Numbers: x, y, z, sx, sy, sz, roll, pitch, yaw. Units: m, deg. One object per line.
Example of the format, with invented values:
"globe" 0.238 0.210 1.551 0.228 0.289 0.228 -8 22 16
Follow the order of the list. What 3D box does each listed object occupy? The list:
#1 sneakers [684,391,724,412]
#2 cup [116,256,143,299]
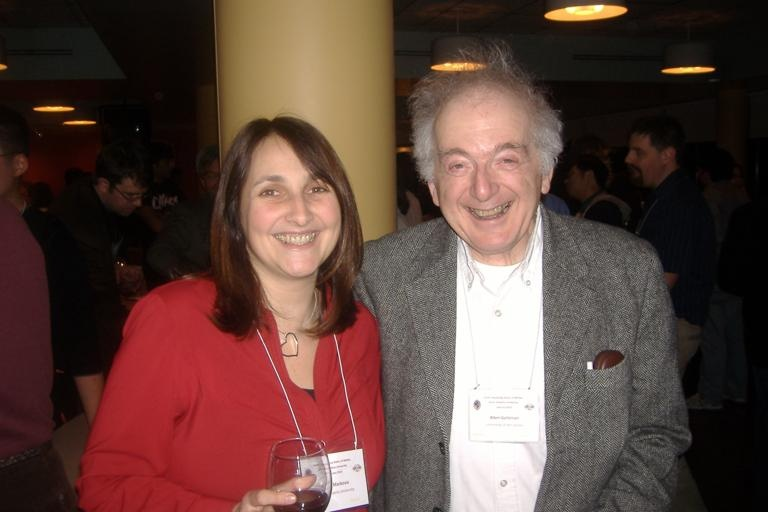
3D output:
"sneakers" 3.450 1.596 6.128 0.438 0.209 0.182 8 -11 11
"cup" -1.959 0.182 4.298 0.171 0.315 0.236 -18 12 -12
